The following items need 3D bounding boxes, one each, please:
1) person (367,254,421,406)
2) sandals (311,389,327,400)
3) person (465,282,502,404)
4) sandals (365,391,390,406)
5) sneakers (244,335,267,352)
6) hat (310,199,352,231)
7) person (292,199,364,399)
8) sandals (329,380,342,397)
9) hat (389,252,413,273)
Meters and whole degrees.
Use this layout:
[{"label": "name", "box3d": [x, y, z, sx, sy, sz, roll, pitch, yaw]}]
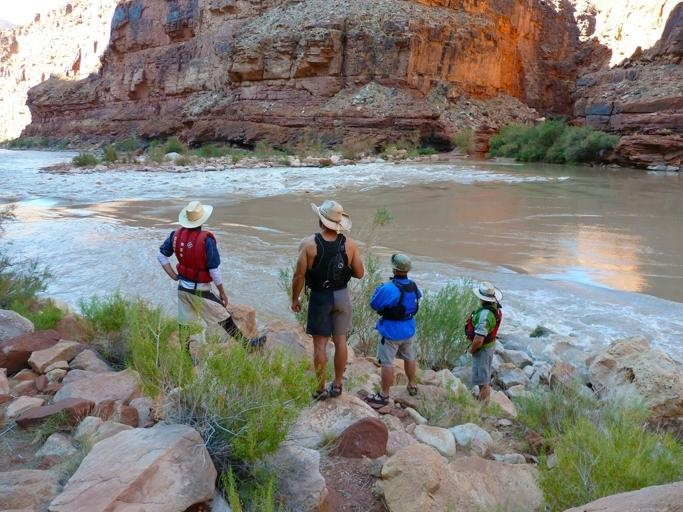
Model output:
[{"label": "person", "box3d": [0.506, 0.795, 4.379, 0.497, 1.221, 0.683, 2, 16, 6]}, {"label": "sandals", "box3d": [-0.195, 1.199, 3.967, 0.065, 0.047, 0.106, 9, 6, -13]}, {"label": "person", "box3d": [1.503, 0.878, 4.898, 0.333, 1.167, 0.520, 6, 17, 17]}, {"label": "sandals", "box3d": [0.312, 1.343, 4.298, 0.174, 0.091, 0.120, 1, -3, 20]}, {"label": "sneakers", "box3d": [-0.932, 0.941, 5.126, 0.203, 0.277, 0.649, 2, -9, -2]}, {"label": "hat", "box3d": [-0.090, -0.368, 4.116, 0.286, 0.309, 0.330, 11, 20, 32]}, {"label": "person", "box3d": [-0.095, 0.482, 4.165, 0.644, 1.962, 0.772, -4, 17, -16]}, {"label": "sandals", "box3d": [-0.056, 1.167, 4.012, 0.110, 0.112, 0.248, 2, 0, -2]}, {"label": "hat", "box3d": [0.572, 0.058, 4.498, 0.172, 0.192, 0.237, 5, 30, -22]}]
